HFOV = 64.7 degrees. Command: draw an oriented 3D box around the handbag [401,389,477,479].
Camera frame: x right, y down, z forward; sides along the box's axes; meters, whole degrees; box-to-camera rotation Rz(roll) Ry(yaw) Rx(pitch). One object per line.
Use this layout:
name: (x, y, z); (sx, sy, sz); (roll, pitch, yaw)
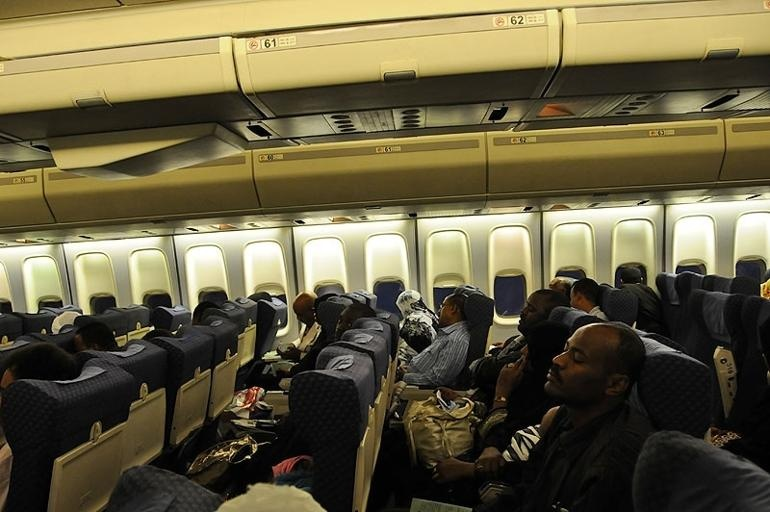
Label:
handbag: (0.421, 1.336, 4.643); (0.565, 0.511, 0.230); (-11, -19, -9)
